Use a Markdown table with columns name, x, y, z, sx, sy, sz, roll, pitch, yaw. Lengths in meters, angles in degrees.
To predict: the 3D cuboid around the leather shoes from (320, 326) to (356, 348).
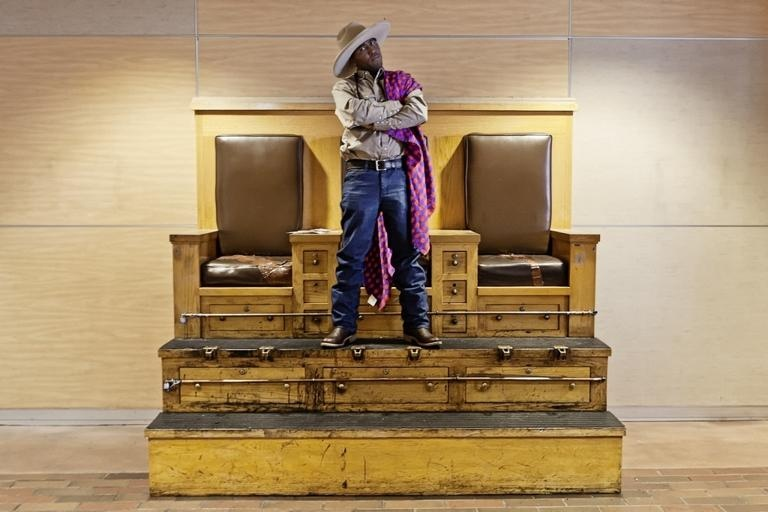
| name | x | y | z | sx | sy | sz | roll | pitch | yaw |
| --- | --- | --- | --- | --- | --- | --- | --- | --- | --- |
| leather shoes | -0.306 | 0.571 | 9.333 | 0.264 | 0.151 | 0.098 | 2 | -2 | -37 |

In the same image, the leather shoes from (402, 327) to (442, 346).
| name | x | y | z | sx | sy | sz | roll | pitch | yaw |
| --- | --- | --- | --- | --- | --- | --- | --- | --- | --- |
| leather shoes | 0.271 | 0.585 | 9.380 | 0.265 | 0.086 | 0.114 | -1 | 0 | 41 |

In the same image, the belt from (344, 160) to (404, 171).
| name | x | y | z | sx | sy | sz | roll | pitch | yaw |
| --- | --- | --- | --- | --- | --- | --- | --- | --- | --- |
| belt | -0.057 | -0.646 | 9.360 | 0.402 | 0.086 | 0.094 | 1 | -2 | -1 |

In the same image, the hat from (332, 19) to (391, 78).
| name | x | y | z | sx | sy | sz | roll | pitch | yaw |
| --- | --- | --- | --- | --- | --- | --- | --- | --- | --- |
| hat | -0.159 | -1.464 | 9.334 | 0.374 | 0.397 | 0.285 | 1 | -2 | 4 |

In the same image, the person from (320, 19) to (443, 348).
| name | x | y | z | sx | sy | sz | roll | pitch | yaw |
| --- | --- | --- | --- | --- | --- | --- | --- | --- | --- |
| person | -0.002 | -0.499 | 9.380 | 0.822 | 2.300 | 0.440 | 1 | -2 | 0 |
